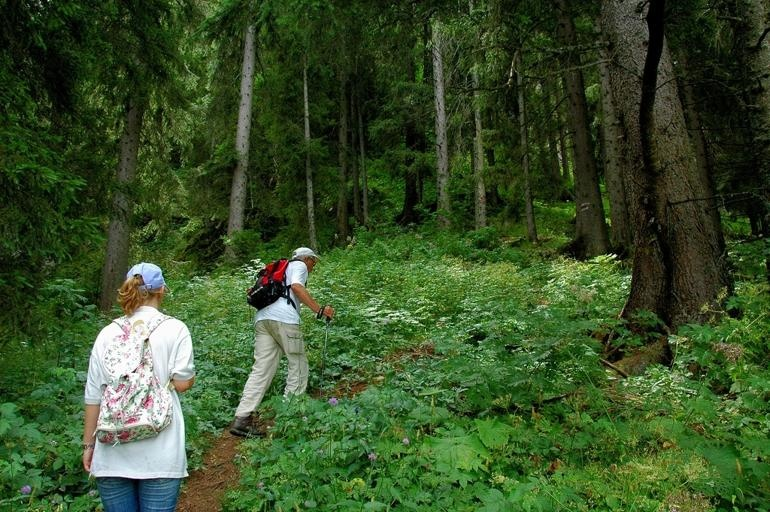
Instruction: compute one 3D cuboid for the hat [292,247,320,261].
[{"bbox_3d":[-1.241,-0.047,9.539,0.492,0.265,0.319,2,1,-37],"label":"hat"}]
